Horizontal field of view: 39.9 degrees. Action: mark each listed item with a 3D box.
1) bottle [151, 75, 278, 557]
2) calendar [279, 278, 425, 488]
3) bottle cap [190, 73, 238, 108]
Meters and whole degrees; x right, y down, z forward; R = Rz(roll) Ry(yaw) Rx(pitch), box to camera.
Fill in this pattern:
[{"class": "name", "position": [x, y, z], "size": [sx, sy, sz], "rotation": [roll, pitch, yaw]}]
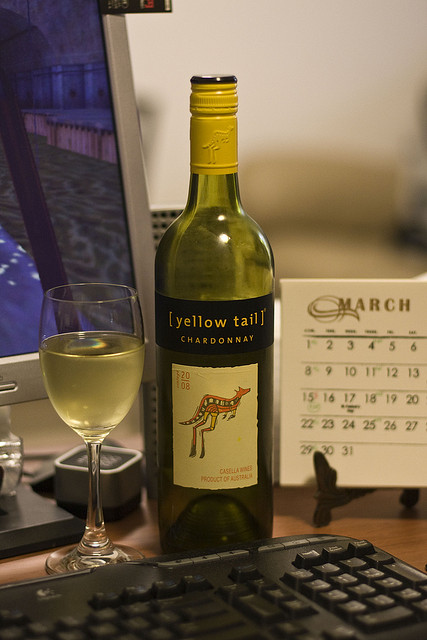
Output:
[{"class": "bottle", "position": [-0.001, 0.043, 0.494], "size": [0.107, 0.314, 0.121], "rotation": [-2, 22, 5]}, {"class": "calendar", "position": [0.135, 0.053, 0.560], "size": [0.213, 0.198, 0.017], "rotation": [-1, 4, -3]}, {"class": "bottle cap", "position": [0.004, -0.178, 0.456], "size": [0.032, 0.025, 0.050], "rotation": [4, 22, 19]}]
